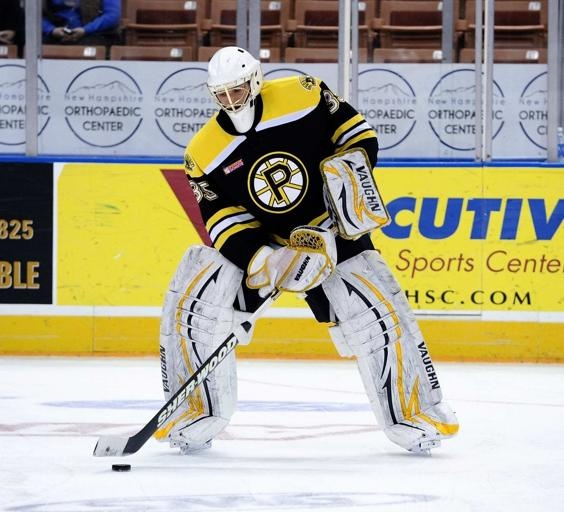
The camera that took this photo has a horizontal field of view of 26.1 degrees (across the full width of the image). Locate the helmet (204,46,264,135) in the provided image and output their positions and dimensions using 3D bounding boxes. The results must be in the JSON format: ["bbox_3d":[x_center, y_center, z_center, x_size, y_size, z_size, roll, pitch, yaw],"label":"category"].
[{"bbox_3d":[-0.203,-0.747,5.454,0.286,0.351,0.310,-13,15,18],"label":"helmet"}]
